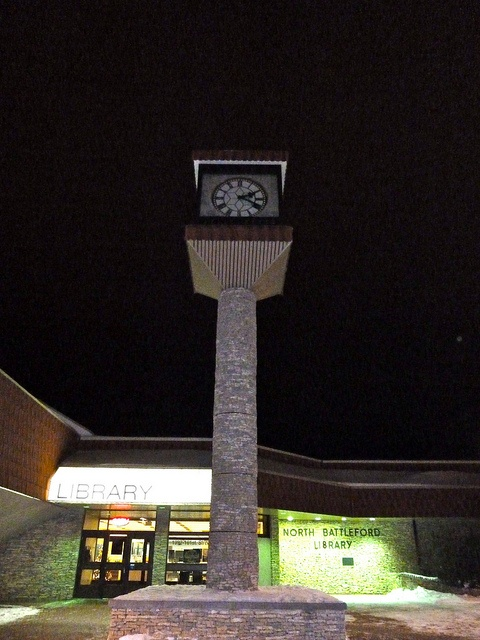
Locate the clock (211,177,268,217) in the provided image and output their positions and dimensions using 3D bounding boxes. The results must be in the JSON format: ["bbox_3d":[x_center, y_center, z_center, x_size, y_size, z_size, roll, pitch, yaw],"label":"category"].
[{"bbox_3d":[-0.036,-3.813,15.741,1.377,1.543,0.093,2,-35,-1],"label":"clock"}]
